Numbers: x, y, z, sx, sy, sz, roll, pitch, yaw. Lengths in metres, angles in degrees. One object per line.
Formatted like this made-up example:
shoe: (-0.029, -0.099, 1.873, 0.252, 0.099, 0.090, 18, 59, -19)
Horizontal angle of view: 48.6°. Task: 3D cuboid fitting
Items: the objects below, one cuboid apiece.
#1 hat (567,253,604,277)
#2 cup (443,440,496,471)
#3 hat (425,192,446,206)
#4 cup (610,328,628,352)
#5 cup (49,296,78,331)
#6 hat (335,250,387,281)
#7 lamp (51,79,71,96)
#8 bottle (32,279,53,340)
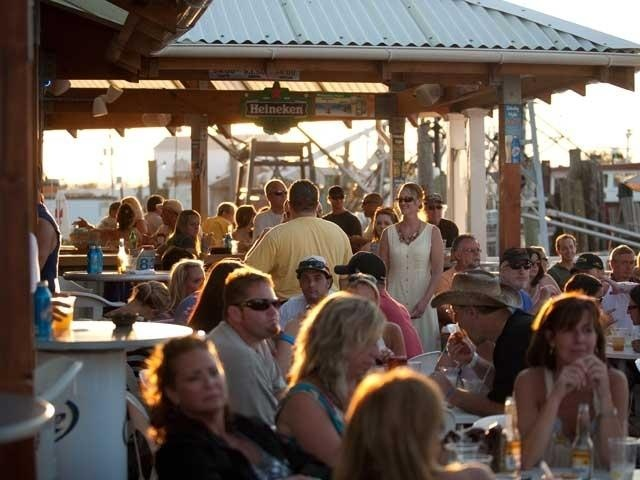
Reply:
hat: (3.613, 0.355, 9.607, 0.450, 0.301, 0.329, 9, -7, -28)
cup: (0.617, 0.905, 3.030, 0.167, 0.162, 0.190, 0, -7, 0)
hat: (1.599, -0.575, 9.992, 0.180, 0.129, 0.204, 1, -3, 1)
cup: (2.950, 1.000, 7.018, 0.190, 0.256, 0.201, -1, -2, 0)
cup: (-1.765, 0.508, 4.881, 0.177, 0.234, 0.199, 1, -6, -7)
hat: (0.389, 0.238, 6.467, 0.355, 0.251, 0.257, 17, 4, 16)
lamp: (-3.587, -2.148, 9.802, 0.235, 0.210, 0.911, 2, 2, -23)
bottle: (-1.661, 0.425, 4.264, 0.098, 0.367, 0.265, 2, 0, -18)
